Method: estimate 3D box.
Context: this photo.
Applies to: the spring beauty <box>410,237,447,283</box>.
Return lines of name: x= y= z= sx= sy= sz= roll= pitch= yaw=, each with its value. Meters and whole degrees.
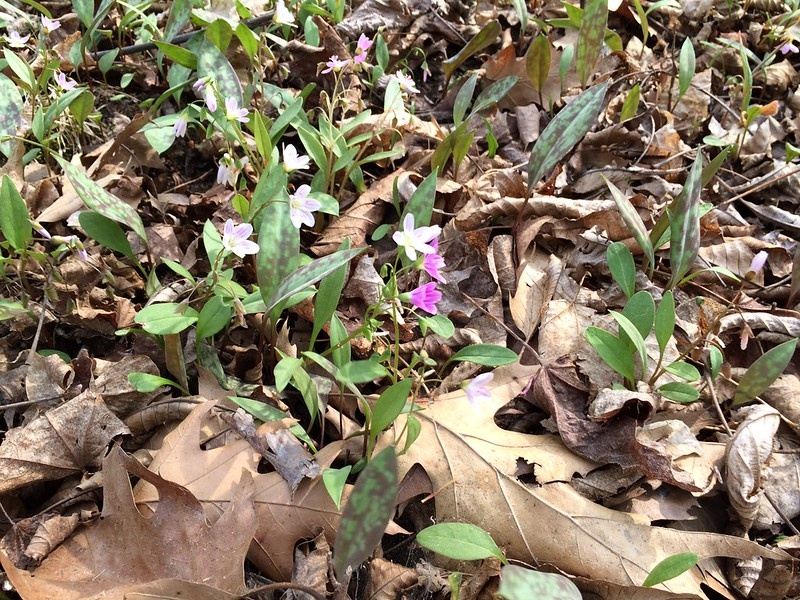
spring beauty: x=0.123 y=-0.123 z=3.102 sx=0.087 sy=0.186 sz=0.182 roll=0 pitch=55 yaw=23

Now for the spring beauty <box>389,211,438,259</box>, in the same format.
spring beauty: x=0.064 y=-0.244 z=3.040 sx=0.173 sy=0.067 sz=0.192 roll=23 pitch=72 yaw=-3

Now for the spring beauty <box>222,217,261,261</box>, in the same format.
spring beauty: x=-0.684 y=-0.255 z=3.108 sx=0.137 sy=0.137 sz=0.184 roll=-18 pitch=52 yaw=-17

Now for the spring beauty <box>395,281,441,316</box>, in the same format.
spring beauty: x=0.064 y=-0.008 z=3.010 sx=0.178 sy=0.112 sz=0.094 roll=-4 pitch=39 yaw=30
